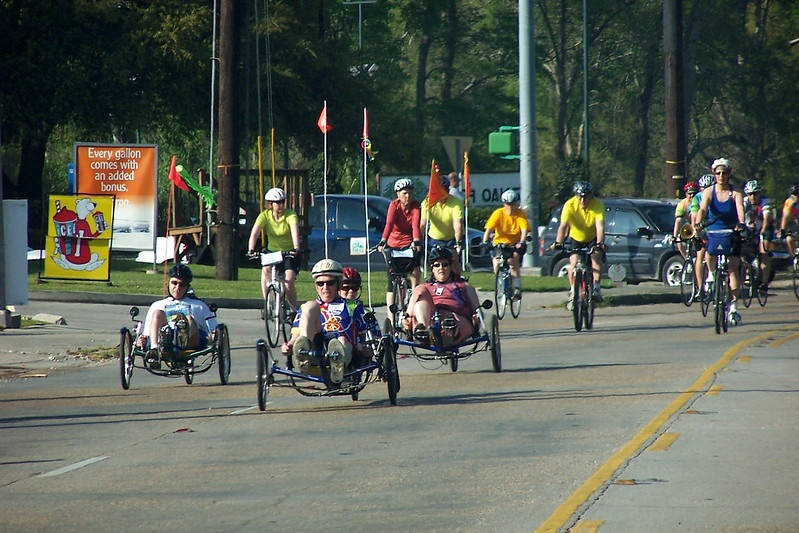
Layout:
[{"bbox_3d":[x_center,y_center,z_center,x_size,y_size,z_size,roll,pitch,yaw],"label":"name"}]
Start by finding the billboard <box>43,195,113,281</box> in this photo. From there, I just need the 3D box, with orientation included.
[{"bbox_3d":[-8.327,-0.679,47.879,2.138,2.735,0.289,2,-18,-1],"label":"billboard"}]

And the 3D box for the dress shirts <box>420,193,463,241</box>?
[{"bbox_3d":[0.934,-1.070,42.055,1.068,1.050,0.598,2,1,18],"label":"dress shirts"}]

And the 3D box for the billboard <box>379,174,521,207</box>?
[{"bbox_3d":[1.737,-2.261,56.030,5.203,1.269,0.187,0,21,-19],"label":"billboard"}]

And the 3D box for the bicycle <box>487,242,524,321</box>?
[{"bbox_3d":[2.528,0.470,43.931,0.688,1.938,1.116,0,15,1],"label":"bicycle"}]

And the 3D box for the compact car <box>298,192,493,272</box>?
[{"bbox_3d":[-1.600,-0.977,51.180,4.542,2.106,2.289,0,2,26],"label":"compact car"}]

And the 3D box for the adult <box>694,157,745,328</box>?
[{"bbox_3d":[7.094,-0.501,40.876,0.992,3.746,0.546,3,15,12],"label":"adult"}]

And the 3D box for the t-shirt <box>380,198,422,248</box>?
[{"bbox_3d":[0.181,-0.933,41.788,0.613,1.015,0.772,-16,-3,-35],"label":"t-shirt"}]

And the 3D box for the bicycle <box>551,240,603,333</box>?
[{"bbox_3d":[4.206,0.532,42.237,0.599,2.045,0.851,1,15,5],"label":"bicycle"}]

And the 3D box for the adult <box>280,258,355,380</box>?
[{"bbox_3d":[-1.566,1.165,36.157,1.344,2.290,1.110,-4,15,-14],"label":"adult"}]

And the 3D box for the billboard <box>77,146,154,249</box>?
[{"bbox_3d":[-7.691,-1.942,49.674,2.729,3.580,0.142,2,14,-5],"label":"billboard"}]

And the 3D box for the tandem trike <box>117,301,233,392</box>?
[{"bbox_3d":[-4.630,1.677,38.583,1.600,1.332,2.187,0,-16,-3],"label":"tandem trike"}]

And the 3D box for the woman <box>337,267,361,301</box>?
[{"bbox_3d":[-1.006,0.415,36.848,0.458,0.566,0.579,2,-10,-6],"label":"woman"}]

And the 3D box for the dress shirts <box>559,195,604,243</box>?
[{"bbox_3d":[4.117,-1.149,42.452,0.655,1.182,1.008,2,12,26],"label":"dress shirts"}]

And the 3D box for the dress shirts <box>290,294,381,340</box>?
[{"bbox_3d":[-1.046,1.081,36.048,1.001,0.492,1.161,15,3,-2],"label":"dress shirts"}]

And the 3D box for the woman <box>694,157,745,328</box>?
[{"bbox_3d":[7.094,-0.498,40.865,0.976,3.746,0.553,2,15,10],"label":"woman"}]

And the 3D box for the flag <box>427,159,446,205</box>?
[{"bbox_3d":[0.806,-1.786,42.275,0.489,0.813,0.953,-3,15,-11],"label":"flag"}]

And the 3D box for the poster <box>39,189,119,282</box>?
[{"bbox_3d":[-8.360,-0.745,48.086,2.410,2.740,0.376,2,-18,0],"label":"poster"}]

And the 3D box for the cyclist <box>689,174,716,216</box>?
[{"bbox_3d":[6.933,-1.542,43.040,0.643,1.078,0.569,10,9,23],"label":"cyclist"}]

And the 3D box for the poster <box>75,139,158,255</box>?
[{"bbox_3d":[-7.661,-1.843,49.708,2.981,3.912,0.145,2,14,-5],"label":"poster"}]

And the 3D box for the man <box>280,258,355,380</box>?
[{"bbox_3d":[-1.567,1.144,36.236,1.329,2.290,1.155,-1,15,-3],"label":"man"}]

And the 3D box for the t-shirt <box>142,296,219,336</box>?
[{"bbox_3d":[-4.324,1.229,37.941,1.387,0.667,1.761,-4,-7,41],"label":"t-shirt"}]

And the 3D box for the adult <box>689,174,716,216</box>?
[{"bbox_3d":[6.998,-1.692,43.149,0.643,1.078,0.569,10,9,23],"label":"adult"}]
